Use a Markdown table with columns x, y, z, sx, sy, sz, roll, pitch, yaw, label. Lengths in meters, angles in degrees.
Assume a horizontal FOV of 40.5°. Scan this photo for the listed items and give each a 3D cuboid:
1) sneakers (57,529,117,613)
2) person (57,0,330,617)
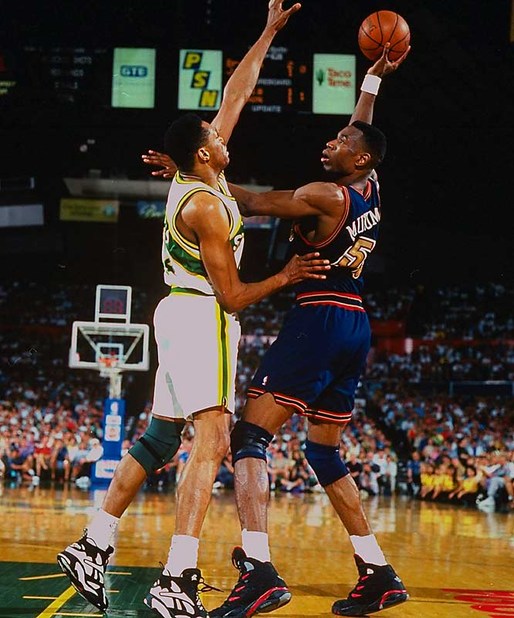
| x | y | z | sx | sy | sz | roll | pitch | yaw | label |
| --- | --- | --- | --- | --- | --- | --- | --- | --- | --- |
| -0.657 | 1.018 | 2.682 | 0.211 | 0.295 | 0.163 | 2 | 6 | -23 | sneakers |
| -0.223 | -0.024 | 2.879 | 0.864 | 2.726 | 1.061 | 5 | 6 | 5 | person |
